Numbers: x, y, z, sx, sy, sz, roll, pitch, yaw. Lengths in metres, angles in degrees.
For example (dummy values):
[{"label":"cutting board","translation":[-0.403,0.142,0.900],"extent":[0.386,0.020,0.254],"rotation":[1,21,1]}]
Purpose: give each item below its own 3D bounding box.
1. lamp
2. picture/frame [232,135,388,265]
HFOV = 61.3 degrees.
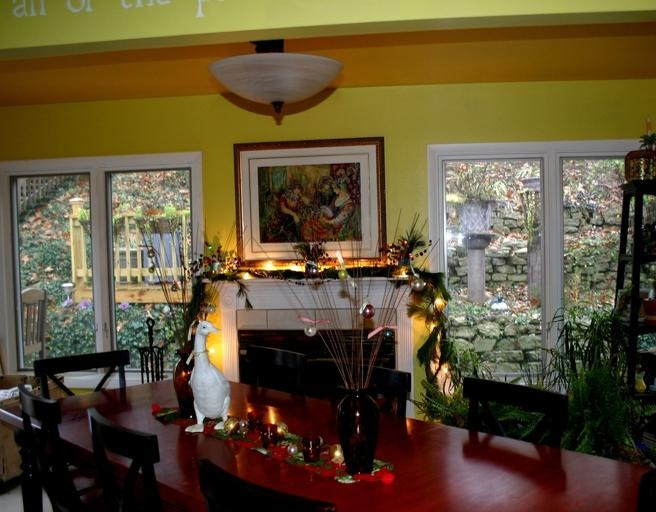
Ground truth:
[{"label":"lamp","translation":[-0.291,-1.049,3.231],"extent":[0.535,0.373,0.563],"rotation":[-1,3,-1]},{"label":"picture/frame","translation":[-0.092,-0.481,4.545],"extent":[0.929,0.848,0.042],"rotation":[-1,1,9]}]
